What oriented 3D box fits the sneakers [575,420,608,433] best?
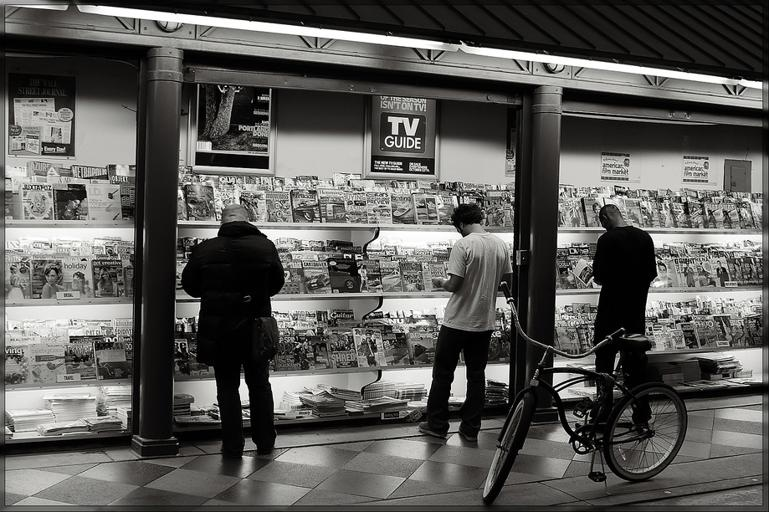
[{"bbox_3d":[1.729,1.452,5.939,0.267,0.106,0.140,0,6,-7],"label":"sneakers"}]

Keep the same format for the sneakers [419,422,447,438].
[{"bbox_3d":[0.490,1.780,7.168,0.123,0.117,0.292,0,10,-40],"label":"sneakers"}]

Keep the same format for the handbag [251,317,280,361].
[{"bbox_3d":[-1.110,0.779,6.492,0.233,0.431,0.132,0,5,-15],"label":"handbag"}]

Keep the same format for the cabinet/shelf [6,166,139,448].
[{"bbox_3d":[-2.994,0.396,6.693,1.155,2.561,0.630,-1,6,-19],"label":"cabinet/shelf"}]

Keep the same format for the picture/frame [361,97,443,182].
[{"bbox_3d":[0.152,-1.331,7.891,1.017,1.030,0.117,-2,5,-22],"label":"picture/frame"}]

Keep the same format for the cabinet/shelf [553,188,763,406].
[{"bbox_3d":[3.103,0.497,8.147,2.864,1.271,0.901,1,-2,-24],"label":"cabinet/shelf"}]
